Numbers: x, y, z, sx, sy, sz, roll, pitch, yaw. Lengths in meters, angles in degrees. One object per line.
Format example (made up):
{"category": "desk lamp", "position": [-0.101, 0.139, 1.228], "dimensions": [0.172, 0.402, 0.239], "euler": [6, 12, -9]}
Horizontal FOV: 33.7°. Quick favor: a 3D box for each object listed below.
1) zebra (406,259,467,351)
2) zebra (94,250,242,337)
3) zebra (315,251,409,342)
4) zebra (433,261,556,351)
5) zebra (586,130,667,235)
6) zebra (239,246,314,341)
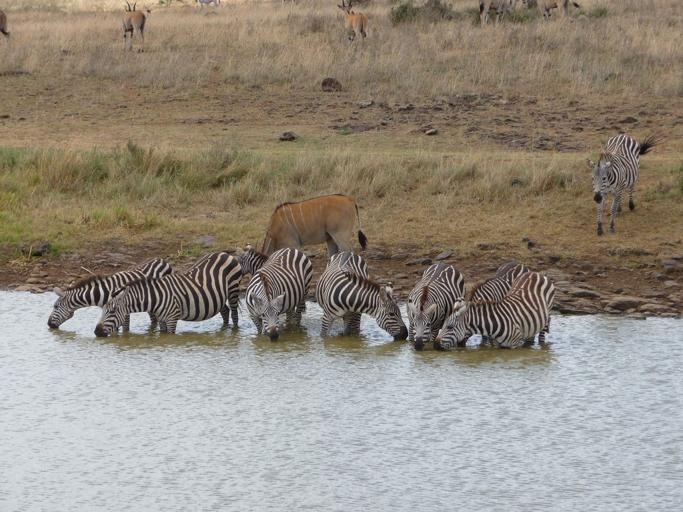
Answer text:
{"category": "zebra", "position": [1.171, 0.732, 14.742], "dimensions": [0.610, 0.988, 1.839], "euler": [7, 18, 14]}
{"category": "zebra", "position": [-2.230, 0.699, 14.938], "dimensions": [2.230, 1.190, 0.725], "euler": [-14, 18, -35]}
{"category": "zebra", "position": [0.174, 0.553, 14.754], "dimensions": [0.808, 0.954, 1.300], "euler": [-12, 19, -36]}
{"category": "zebra", "position": [2.004, 0.747, 14.150], "dimensions": [1.600, 0.803, 0.437], "euler": [-8, 17, -26]}
{"category": "zebra", "position": [4.616, -1.223, 19.008], "dimensions": [0.741, 1.346, 2.009], "euler": [3, 15, 16]}
{"category": "zebra", "position": [-0.878, 0.507, 14.898], "dimensions": [0.545, 0.985, 1.211], "euler": [5, 16, 21]}
